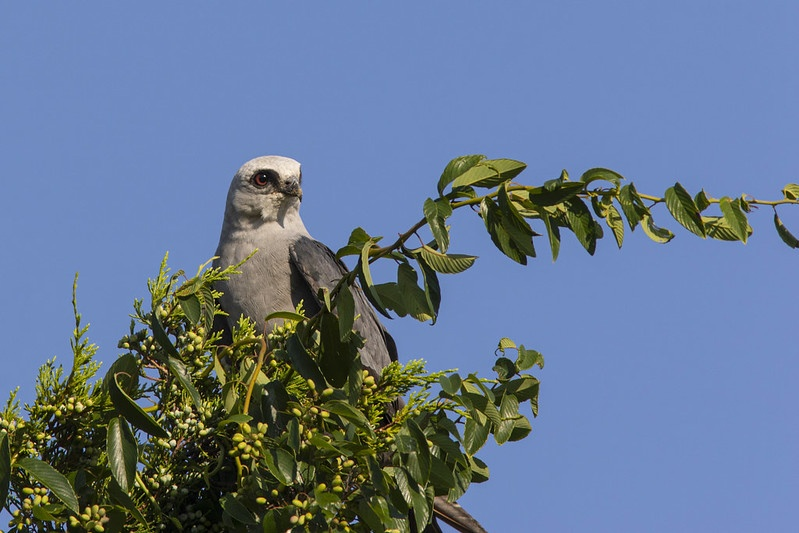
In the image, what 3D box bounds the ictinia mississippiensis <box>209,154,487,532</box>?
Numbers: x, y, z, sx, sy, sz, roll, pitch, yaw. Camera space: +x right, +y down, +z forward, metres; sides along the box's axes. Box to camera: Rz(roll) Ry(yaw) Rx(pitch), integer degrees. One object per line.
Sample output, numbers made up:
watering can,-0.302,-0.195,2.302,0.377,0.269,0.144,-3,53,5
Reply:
ictinia mississippiensis,-0.302,0.576,6.918,0.792,1.764,1.715,-12,-61,-24
